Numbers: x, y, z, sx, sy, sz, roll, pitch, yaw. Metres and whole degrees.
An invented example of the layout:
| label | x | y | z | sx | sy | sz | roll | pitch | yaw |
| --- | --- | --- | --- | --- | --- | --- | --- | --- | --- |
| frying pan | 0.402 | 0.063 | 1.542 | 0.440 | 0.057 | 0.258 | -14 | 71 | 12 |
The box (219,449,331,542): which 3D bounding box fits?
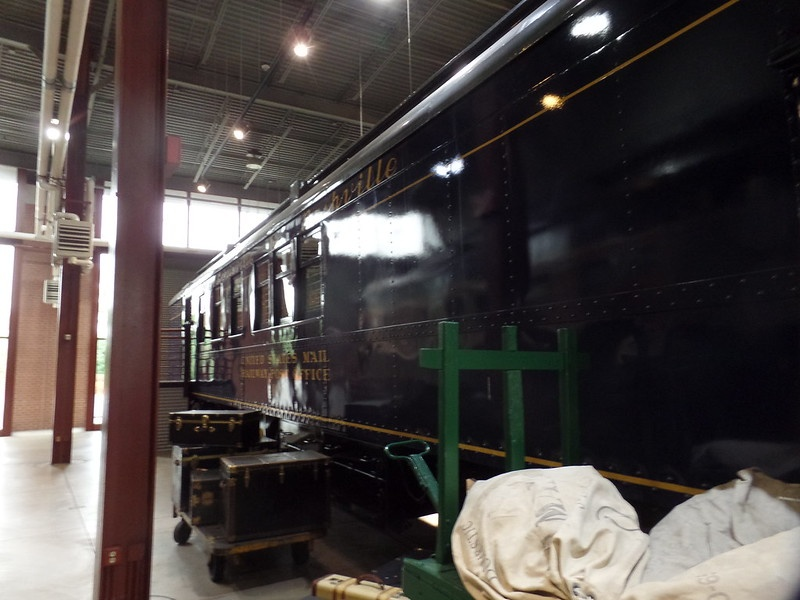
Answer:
| label | x | y | z | sx | sy | sz | roll | pitch | yaw |
| --- | --- | --- | --- | --- | --- | --- | --- | --- | --- |
| box | -1.060 | 1.664 | 4.944 | 0.856 | 0.590 | 0.546 | 3 | -14 | -23 |
